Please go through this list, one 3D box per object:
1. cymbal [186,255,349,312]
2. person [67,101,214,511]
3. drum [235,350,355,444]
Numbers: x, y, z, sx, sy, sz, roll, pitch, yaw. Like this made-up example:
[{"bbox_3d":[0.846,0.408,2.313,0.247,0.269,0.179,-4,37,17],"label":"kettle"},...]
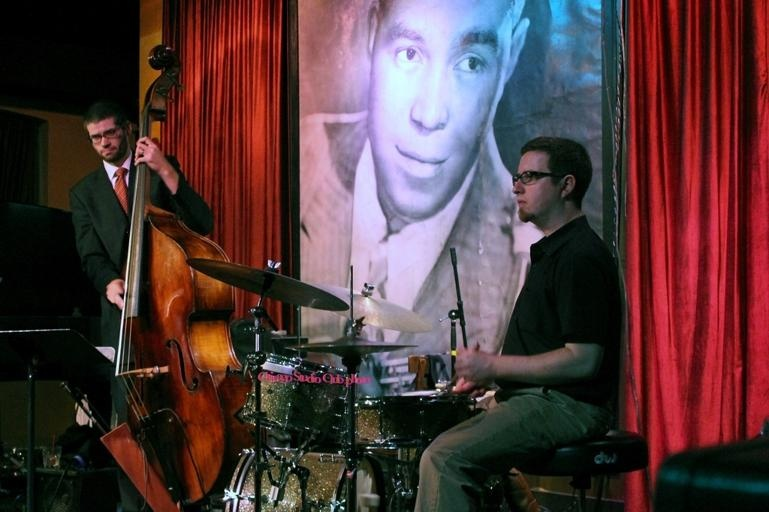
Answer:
[{"bbox_3d":[-0.635,0.157,4.953,0.477,0.105,0.482,23,-9,-18],"label":"cymbal"},{"bbox_3d":[-1.380,0.291,5.745,0.920,2.457,0.714,-15,-14,36],"label":"person"},{"bbox_3d":[-0.499,0.793,5.081,0.494,0.349,0.475,13,-5,1],"label":"drum"}]
